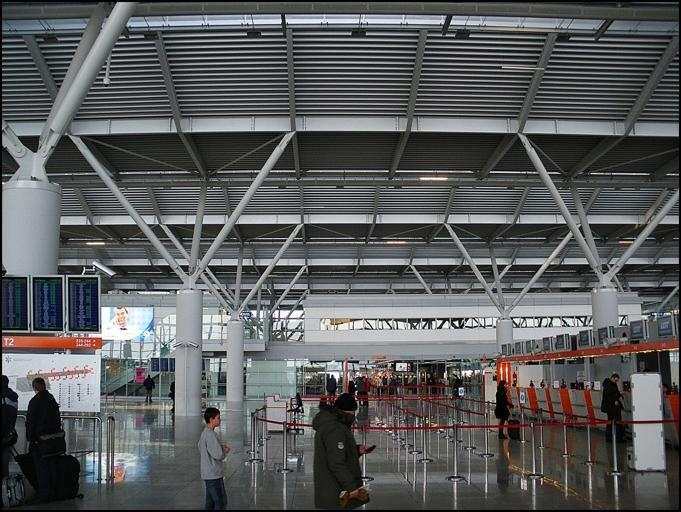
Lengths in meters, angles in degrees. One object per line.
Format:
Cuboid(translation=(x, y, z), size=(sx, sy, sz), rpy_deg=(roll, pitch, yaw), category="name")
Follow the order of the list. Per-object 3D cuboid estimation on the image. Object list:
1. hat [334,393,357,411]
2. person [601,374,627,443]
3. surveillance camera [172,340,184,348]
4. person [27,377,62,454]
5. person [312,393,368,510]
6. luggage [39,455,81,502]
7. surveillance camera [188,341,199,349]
Cuboid(translation=(0.135, 2.756, 14.421), size=(0.380, 0.277, 0.373), rpy_deg=(2, -12, 12), category="hat")
Cuboid(translation=(8.667, 4.778, 24.246), size=(0.725, 2.136, 0.786), rpy_deg=(-2, 1, 13), category="person")
Cuboid(translation=(-7.370, 4.015, 34.716), size=(0.574, 0.262, 0.317), rpy_deg=(-14, -19, 41), category="surveillance camera")
Cuboid(translation=(-6.853, 3.833, 17.449), size=(0.950, 1.972, 0.925), rpy_deg=(3, -1, -3), category="person")
Cuboid(translation=(-0.028, 3.560, 14.018), size=(0.949, 2.076, 0.443), rpy_deg=(-1, -15, 0), category="person")
Cuboid(translation=(-6.361, 5.030, 17.386), size=(0.849, 1.029, 0.430), rpy_deg=(4, -16, -20), category="luggage")
Cuboid(translation=(-6.664, 4.082, 34.866), size=(0.148, 0.286, 0.577), rpy_deg=(-13, -18, 37), category="surveillance camera")
